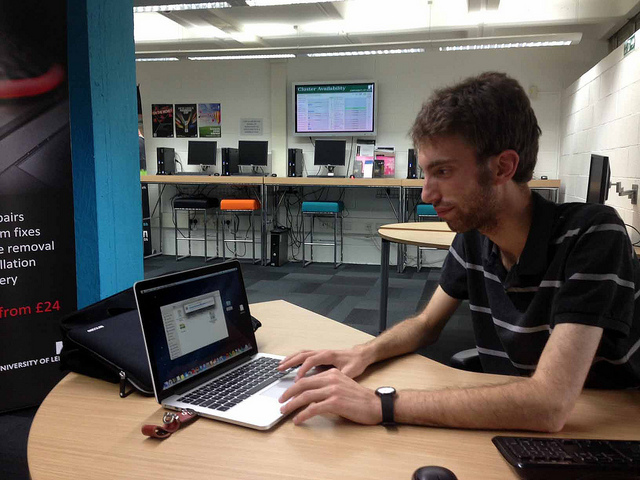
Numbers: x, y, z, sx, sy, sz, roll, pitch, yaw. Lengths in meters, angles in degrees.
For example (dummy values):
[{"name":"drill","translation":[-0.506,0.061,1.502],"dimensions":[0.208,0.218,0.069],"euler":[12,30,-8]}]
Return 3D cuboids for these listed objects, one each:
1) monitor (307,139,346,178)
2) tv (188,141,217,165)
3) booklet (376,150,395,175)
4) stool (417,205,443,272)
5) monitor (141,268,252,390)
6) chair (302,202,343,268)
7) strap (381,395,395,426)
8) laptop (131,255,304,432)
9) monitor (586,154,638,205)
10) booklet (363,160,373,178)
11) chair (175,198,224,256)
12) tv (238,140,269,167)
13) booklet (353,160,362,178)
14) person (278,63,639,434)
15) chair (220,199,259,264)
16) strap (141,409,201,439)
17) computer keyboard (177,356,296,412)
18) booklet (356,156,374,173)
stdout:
[{"name":"monitor","translation":[0.089,-1.097,6.351],"dimensions":[0.486,0.483,0.413],"euler":[4,13,25]},{"name":"tv","translation":[-1.681,-1.257,6.801],"dimensions":[0.319,0.283,0.047],"euler":[2,11,10]},{"name":"booklet","translation":[0.872,-1.047,6.349],"dimensions":[0.236,0.317,0.132],"euler":[0,13,4]},{"name":"stool","translation":[1.306,-0.031,5.760],"dimensions":[0.259,0.904,0.752],"euler":[2,13,13]},{"name":"monitor","translation":[-0.296,0.206,1.194],"dimensions":[0.023,0.279,0.397],"euler":[-11,-1,25]},{"name":"chair","translation":[0.040,-0.090,6.257],"dimensions":[0.614,0.847,0.615],"euler":[-1,6,-17]},{"name":"strap","translation":[0.147,0.371,1.031],"dimensions":[0.031,0.050,0.052],"euler":[1,-18,1]},{"name":"laptop","translation":[-0.282,0.233,1.187],"dimensions":[0.298,0.360,0.437],"euler":[-12,-7,36]},{"name":"monitor","translation":[2.002,-0.395,3.245],"dimensions":[0.279,0.382,0.923],"euler":[9,16,35]},{"name":"booklet","translation":[0.644,-0.963,6.351],"dimensions":[0.125,0.217,0.123],"euler":[1,13,7]},{"name":"chair","translation":[-1.773,-0.193,6.753],"dimensions":[0.770,0.882,0.713],"euler":[0,13,3]},{"name":"tv","translation":[-0.934,-1.221,6.625],"dimensions":[0.323,0.291,0.125],"euler":[1,12,3]},{"name":"booklet","translation":[0.511,-0.981,6.431],"dimensions":[0.117,0.218,0.226],"euler":[0,13,4]},{"name":"person","translation":[0.405,0.000,1.385],"dimensions":[1.010,0.763,0.747],"euler":[0,2,-9]},{"name":"chair","translation":[-1.110,-0.159,6.601],"dimensions":[0.519,0.900,0.857],"euler":[-4,13,-13]},{"name":"strap","translation":[-0.316,0.389,0.999],"dimensions":[0.041,0.030,0.088],"euler":[3,8,29]},{"name":"computer keyboard","translation":[-0.193,0.348,1.162],"dimensions":[0.126,0.008,0.292],"euler":[9,16,35]},{"name":"booklet","translation":[0.610,-1.012,6.364],"dimensions":[0.232,0.251,0.028],"euler":[1,1,10]}]
